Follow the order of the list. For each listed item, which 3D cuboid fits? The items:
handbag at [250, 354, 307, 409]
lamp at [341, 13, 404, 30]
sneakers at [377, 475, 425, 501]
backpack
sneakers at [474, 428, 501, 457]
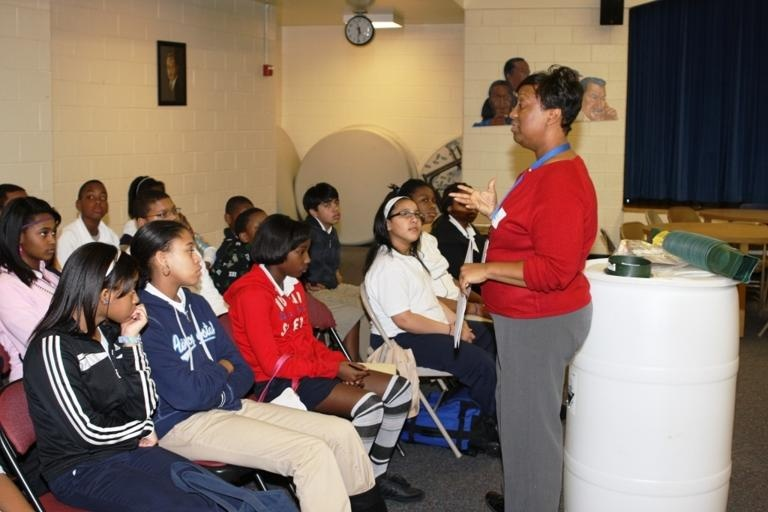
[{"bbox_3d":[-0.509,0.616,2.662,0.248,0.270,0.109,2,10,22],"label":"handbag"},{"bbox_3d":[-0.107,-3.339,7.836,0.767,0.160,0.709,0,9,14],"label":"lamp"},{"bbox_3d":[0.094,1.277,2.994,0.235,0.088,0.131,0,5,15],"label":"sneakers"},{"bbox_3d":[0.366,1.012,3.407,0.389,0.272,0.390,0,1,0],"label":"backpack"},{"bbox_3d":[0.643,1.149,3.364,0.161,0.162,0.069,-1,-13,0],"label":"sneakers"}]
